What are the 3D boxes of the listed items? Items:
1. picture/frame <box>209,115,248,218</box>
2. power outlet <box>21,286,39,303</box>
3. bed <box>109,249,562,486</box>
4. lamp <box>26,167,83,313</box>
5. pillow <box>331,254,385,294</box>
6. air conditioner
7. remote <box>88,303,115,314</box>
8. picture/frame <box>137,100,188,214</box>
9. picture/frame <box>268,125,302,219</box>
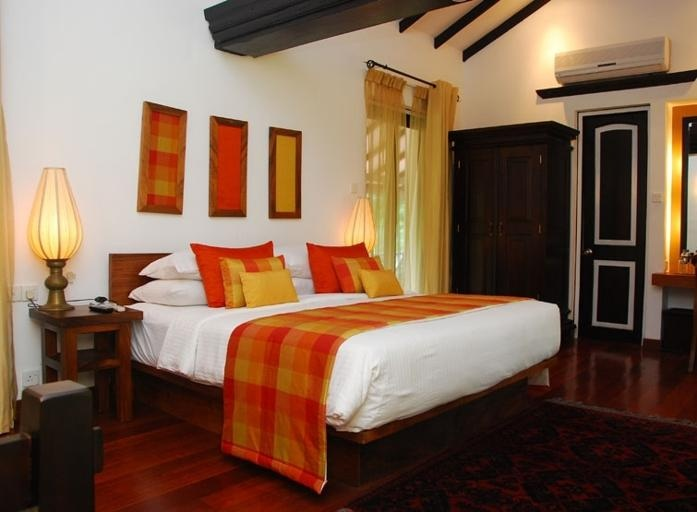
[{"bbox_3d":[-1.028,-0.752,4.413,0.369,0.870,0.066,6,9,18],"label":"picture/frame"},{"bbox_3d":[-2.151,0.255,3.412,0.021,0.120,0.099,5,5,37],"label":"power outlet"},{"bbox_3d":[-0.190,0.602,3.033,1.340,0.615,1.522,-2,-1,39],"label":"bed"},{"bbox_3d":[-1.942,-0.115,3.360,0.292,0.931,0.226,2,5,21],"label":"lamp"},{"bbox_3d":[0.024,0.145,4.401,0.438,0.294,0.125,-1,-20,-35],"label":"pillow"},{"bbox_3d":[2.877,-2.150,5.621,1.122,0.363,0.193,4,6,35],"label":"air conditioner"},{"bbox_3d":[-1.630,0.333,3.347,0.142,0.032,0.070,3,4,39],"label":"remote"},{"bbox_3d":[-1.458,-0.761,4.025,0.381,0.908,0.070,5,1,0],"label":"picture/frame"},{"bbox_3d":[-0.606,-0.786,4.813,0.039,0.854,0.408,5,6,37],"label":"picture/frame"}]
